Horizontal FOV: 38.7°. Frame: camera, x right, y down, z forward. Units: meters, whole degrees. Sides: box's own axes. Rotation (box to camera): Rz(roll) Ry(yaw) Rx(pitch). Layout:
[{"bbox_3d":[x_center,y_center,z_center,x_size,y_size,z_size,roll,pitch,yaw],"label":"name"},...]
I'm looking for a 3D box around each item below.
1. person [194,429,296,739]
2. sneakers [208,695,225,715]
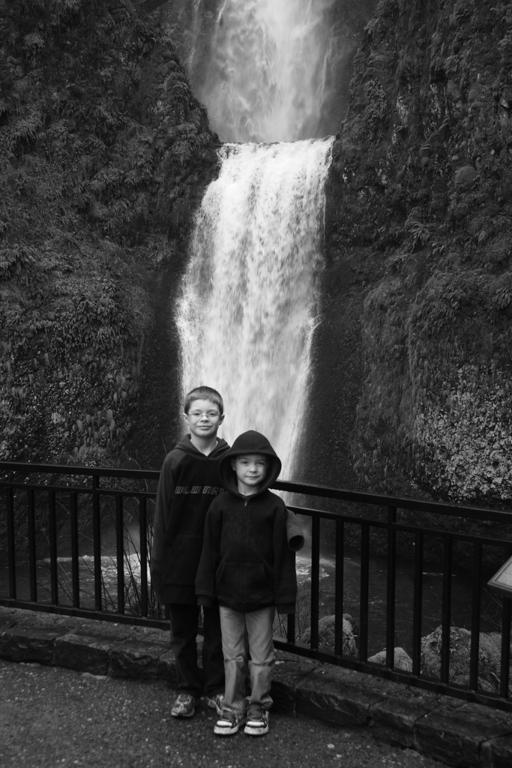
[{"bbox_3d":[-0.039,0.981,3.628,0.398,1.620,0.360,2,13,6],"label":"person"},{"bbox_3d":[-0.204,1.614,3.665,0.044,0.084,0.143,15,-7,-15],"label":"sneakers"}]
